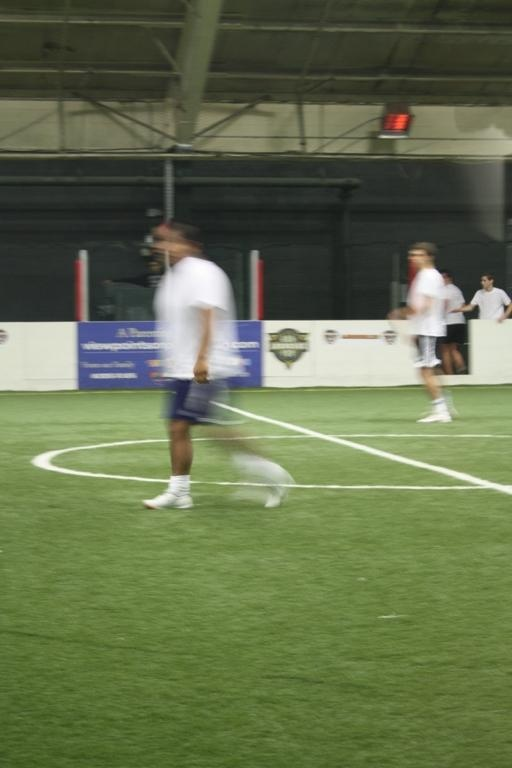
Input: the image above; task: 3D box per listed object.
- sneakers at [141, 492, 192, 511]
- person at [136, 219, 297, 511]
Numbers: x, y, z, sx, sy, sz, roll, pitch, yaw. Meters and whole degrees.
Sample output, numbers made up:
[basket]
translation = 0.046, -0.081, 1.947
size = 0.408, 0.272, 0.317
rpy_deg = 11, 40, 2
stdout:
[sneakers]
translation = -0.452, 0.609, 5.567
size = 0.290, 0.101, 0.088
rpy_deg = 3, -5, -10
[person]
translation = -0.261, -0.087, 5.500
size = 0.536, 1.468, 0.587
rpy_deg = 1, 2, 43
